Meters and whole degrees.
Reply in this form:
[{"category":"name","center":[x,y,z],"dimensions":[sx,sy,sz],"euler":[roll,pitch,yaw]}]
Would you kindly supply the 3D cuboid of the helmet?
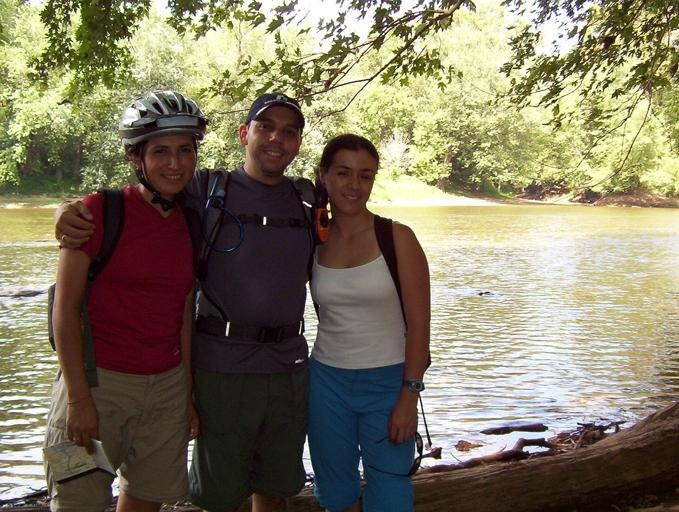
[{"category":"helmet","center":[-1.093,-0.872,3.590],"dimensions":[0.355,0.218,0.470],"euler":[-1,-11,-33]}]
